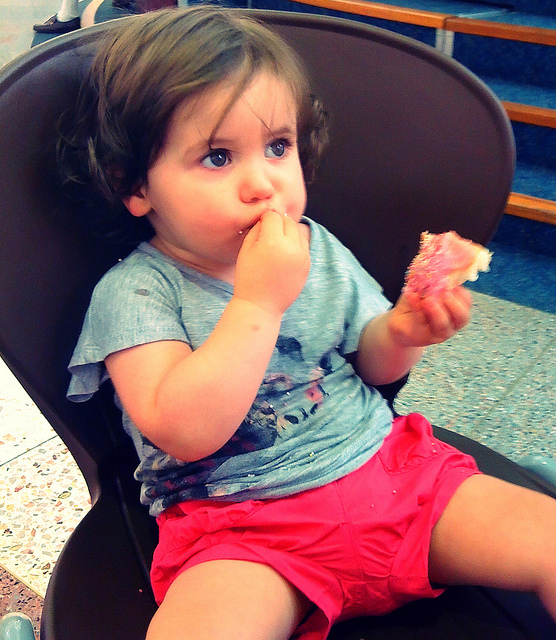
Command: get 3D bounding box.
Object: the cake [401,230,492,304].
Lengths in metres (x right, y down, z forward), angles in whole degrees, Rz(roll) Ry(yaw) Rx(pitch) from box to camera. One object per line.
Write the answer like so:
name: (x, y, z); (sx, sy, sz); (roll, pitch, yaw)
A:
cake: (0.202, -0.060, 0.759); (0.086, 0.090, 0.038); (42, 18, 21)

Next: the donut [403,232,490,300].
donut: (0.185, -0.051, 0.712); (0.088, 0.036, 0.077); (20, 87, 19)
